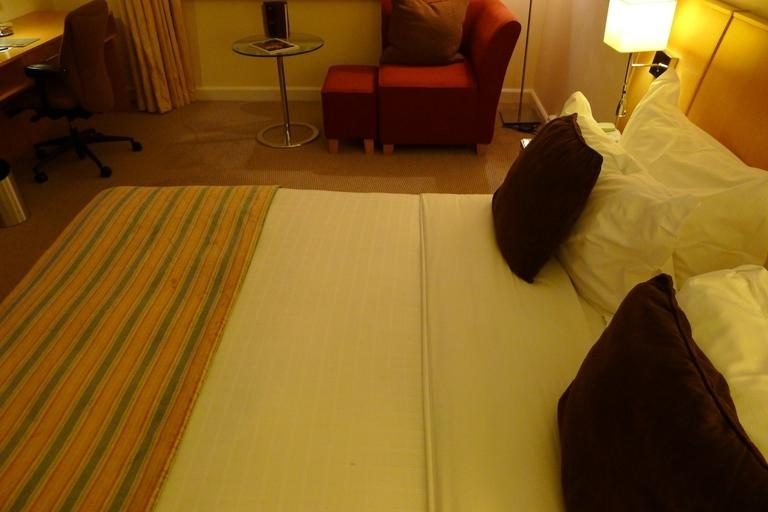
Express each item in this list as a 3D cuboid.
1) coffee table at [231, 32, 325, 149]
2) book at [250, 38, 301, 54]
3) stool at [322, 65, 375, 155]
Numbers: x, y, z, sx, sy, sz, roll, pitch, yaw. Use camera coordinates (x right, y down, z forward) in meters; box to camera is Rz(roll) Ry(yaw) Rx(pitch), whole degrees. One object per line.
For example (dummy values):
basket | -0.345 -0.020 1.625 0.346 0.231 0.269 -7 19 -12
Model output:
coffee table | -0.808 -1.338 4.352 0.660 0.752 0.618 -3 38 -7
book | -0.825 -1.583 4.097 0.280 0.051 0.432 -15 43 -21
stool | -0.229 -1.126 4.454 0.481 0.750 0.739 0 43 -1
